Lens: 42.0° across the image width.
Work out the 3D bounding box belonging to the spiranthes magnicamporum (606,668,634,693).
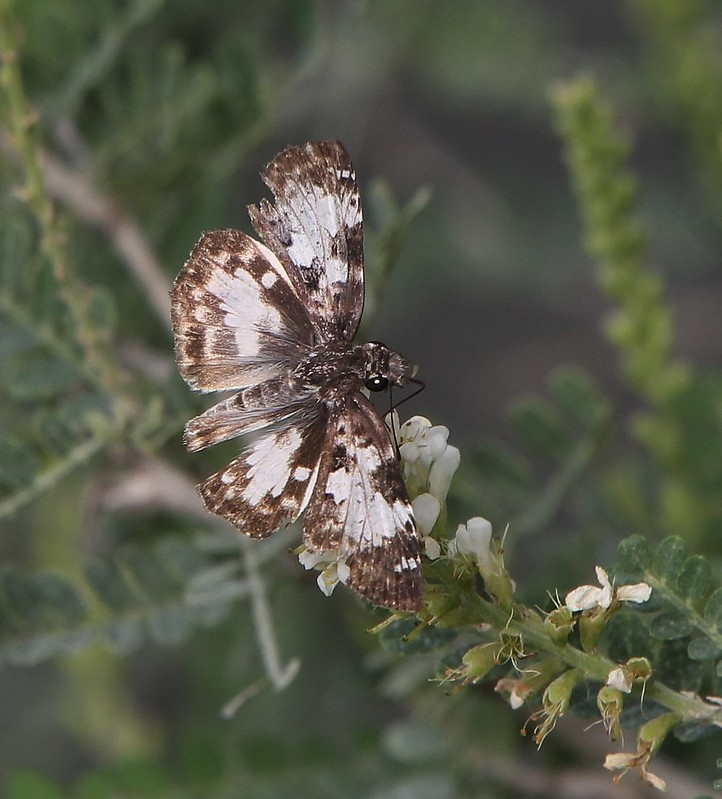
[{"bbox_3d":[0.245,0.266,0.895,0.030,0.022,0.011,5,24,19],"label":"spiranthes magnicamporum"}]

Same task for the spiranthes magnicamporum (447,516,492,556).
[{"bbox_3d":[0.112,0.144,0.961,0.035,0.041,0.045,5,58,15],"label":"spiranthes magnicamporum"}]

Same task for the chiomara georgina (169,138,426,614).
[{"bbox_3d":[-0.047,-0.026,1.146,0.350,0.549,0.182,-20,21,-37],"label":"chiomara georgina"}]

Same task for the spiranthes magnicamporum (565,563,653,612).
[{"bbox_3d":[0.247,0.195,0.959,0.092,0.046,0.039,-20,56,-5],"label":"spiranthes magnicamporum"}]

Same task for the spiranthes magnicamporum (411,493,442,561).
[{"bbox_3d":[0.067,0.129,0.941,0.031,0.012,0.059,6,59,-14],"label":"spiranthes magnicamporum"}]
